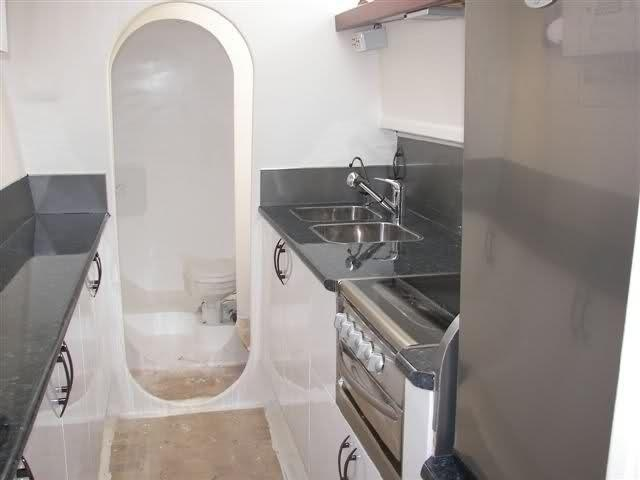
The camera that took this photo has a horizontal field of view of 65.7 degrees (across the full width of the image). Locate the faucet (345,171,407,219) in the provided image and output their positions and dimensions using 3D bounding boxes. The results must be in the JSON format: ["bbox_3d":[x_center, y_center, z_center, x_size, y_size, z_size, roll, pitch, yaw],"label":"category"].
[{"bbox_3d":[0.308,-0.265,2.832,0.282,0.252,0.448,-4,11,4],"label":"faucet"}]

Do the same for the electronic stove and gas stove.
[{"bbox_3d":[0.362,0.310,1.677,0.403,0.145,0.619,-14,-40,35],"label":"electronic stove and gas stove"}]

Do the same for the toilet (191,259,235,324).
[{"bbox_3d":[-0.742,0.350,3.439,0.259,0.442,0.277,-11,9,-36],"label":"toilet"}]
